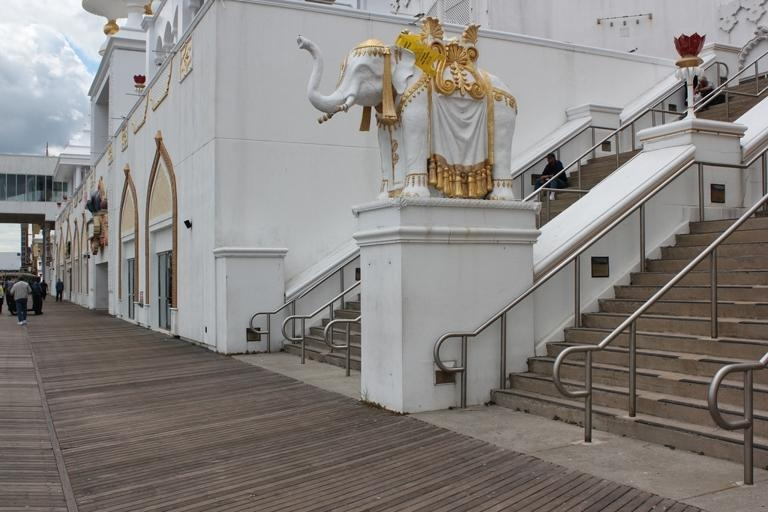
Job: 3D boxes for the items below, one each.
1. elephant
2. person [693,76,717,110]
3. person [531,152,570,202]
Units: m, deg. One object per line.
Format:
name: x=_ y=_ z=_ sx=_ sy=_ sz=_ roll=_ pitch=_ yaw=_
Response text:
elephant: x=0.589 y=-2.260 z=15.986 sx=3.713 sy=3.086 sz=1.683 roll=0 pitch=-4 yaw=-20
person: x=8.641 y=-4.232 z=23.832 sx=0.557 sy=1.075 sz=0.401 roll=4 pitch=-16 yaw=-26
person: x=4.123 y=-1.855 z=21.728 sx=0.745 sy=1.185 sz=0.587 roll=1 pitch=-2 yaw=-38
